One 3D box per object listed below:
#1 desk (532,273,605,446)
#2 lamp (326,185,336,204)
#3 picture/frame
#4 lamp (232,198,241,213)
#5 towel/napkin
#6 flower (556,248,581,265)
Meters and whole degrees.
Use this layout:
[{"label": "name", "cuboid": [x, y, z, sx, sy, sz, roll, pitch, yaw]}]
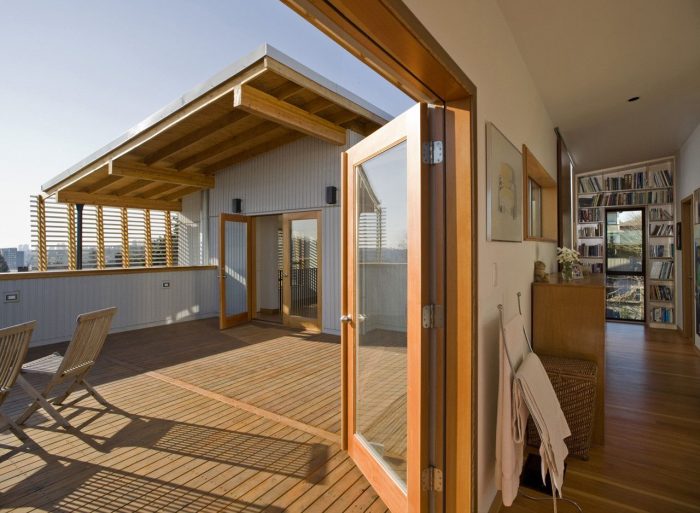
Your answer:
[{"label": "desk", "cuboid": [2.192, 1.074, 4.626, 0.534, 1.469, 1.545, -1, -2, 22]}, {"label": "lamp", "cuboid": [-0.344, -1.051, 7.936, 0.223, 0.330, 0.145, 3, 13, 12]}, {"label": "picture/frame", "cuboid": [1.346, -0.656, 4.112, 0.043, 0.785, 1.093, -3, -7, 32]}, {"label": "lamp", "cuboid": [-2.289, -1.034, 9.361, 0.195, 0.285, 0.186, -4, 13, -18]}, {"label": "towel/napkin", "cuboid": [1.543, 1.375, 3.946, 0.581, 1.581, 0.833, 7, 14, 28]}, {"label": "flower", "cuboid": [2.561, -0.010, 5.455, 0.202, 0.167, 0.398, 5, 14, 20]}]
